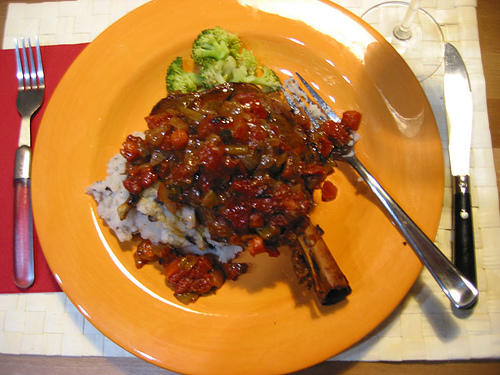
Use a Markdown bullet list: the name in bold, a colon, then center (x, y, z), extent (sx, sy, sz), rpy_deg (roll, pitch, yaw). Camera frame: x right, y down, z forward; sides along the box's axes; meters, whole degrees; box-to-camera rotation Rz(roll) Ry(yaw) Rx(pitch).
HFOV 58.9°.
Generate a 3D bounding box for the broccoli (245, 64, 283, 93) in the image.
- **broccoli**: center (0.160, -1.147, 4.910), extent (0.303, 0.101, 0.303), rpy_deg (39, 63, -3)
